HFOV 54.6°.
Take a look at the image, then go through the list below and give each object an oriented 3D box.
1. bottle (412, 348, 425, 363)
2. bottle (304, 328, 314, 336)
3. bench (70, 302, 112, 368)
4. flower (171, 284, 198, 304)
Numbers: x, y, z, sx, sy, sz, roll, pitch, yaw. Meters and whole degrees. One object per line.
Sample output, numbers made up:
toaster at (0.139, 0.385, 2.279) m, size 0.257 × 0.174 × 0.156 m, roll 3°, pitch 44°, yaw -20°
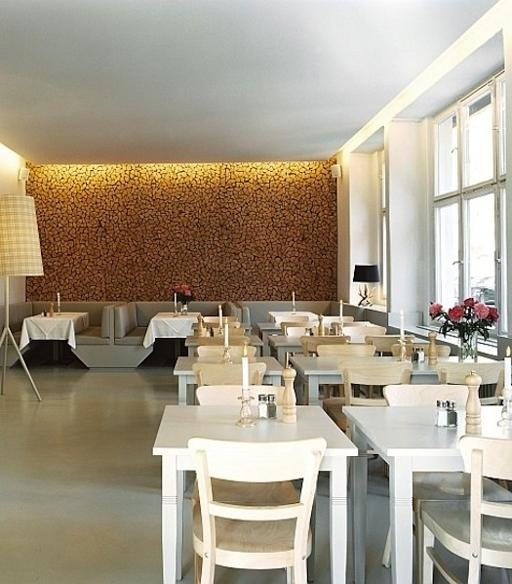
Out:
bottle at (1.090, 0.429, 3.336) m, size 0.089 × 0.109 × 0.085 m, roll 1°, pitch 3°, yaw 0°
bottle at (0.559, 0.423, 5.233) m, size 0.100 × 0.090 × 0.069 m, roll 3°, pitch 5°, yaw 24°
bench at (-2.527, 0.703, 7.622) m, size 0.532 × 0.691 × 0.942 m, roll 1°, pitch 2°, yaw -1°
flower at (-1.154, 0.036, 7.849) m, size 0.396 × 0.376 × 0.379 m, roll 4°, pitch 7°, yaw 42°
